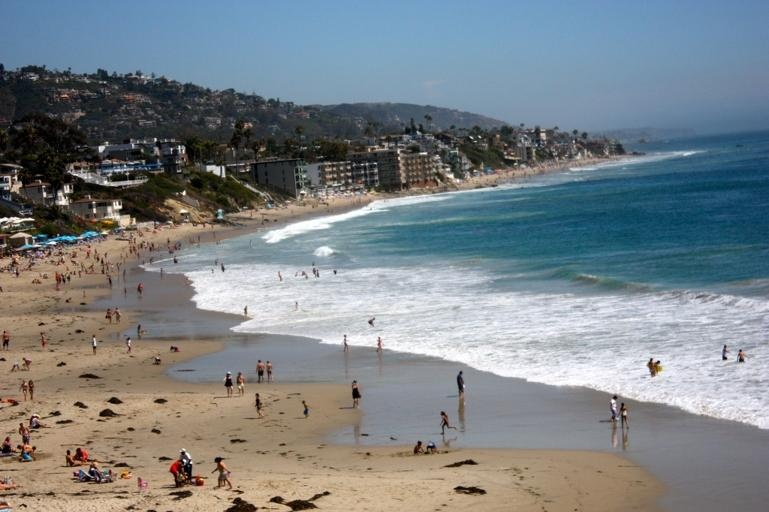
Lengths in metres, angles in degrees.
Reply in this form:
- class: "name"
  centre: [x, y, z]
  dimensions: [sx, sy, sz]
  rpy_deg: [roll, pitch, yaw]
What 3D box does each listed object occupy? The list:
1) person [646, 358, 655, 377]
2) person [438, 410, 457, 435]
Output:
- class: "person"
  centre: [13.415, 5.590, 44.595]
  dimensions: [0.375, 0.783, 0.462]
  rpy_deg: [0, 8, 4]
- class: "person"
  centre: [3.165, 7.662, 40.924]
  dimensions: [1.121, 1.225, 0.564]
  rpy_deg: [2, 11, 12]
